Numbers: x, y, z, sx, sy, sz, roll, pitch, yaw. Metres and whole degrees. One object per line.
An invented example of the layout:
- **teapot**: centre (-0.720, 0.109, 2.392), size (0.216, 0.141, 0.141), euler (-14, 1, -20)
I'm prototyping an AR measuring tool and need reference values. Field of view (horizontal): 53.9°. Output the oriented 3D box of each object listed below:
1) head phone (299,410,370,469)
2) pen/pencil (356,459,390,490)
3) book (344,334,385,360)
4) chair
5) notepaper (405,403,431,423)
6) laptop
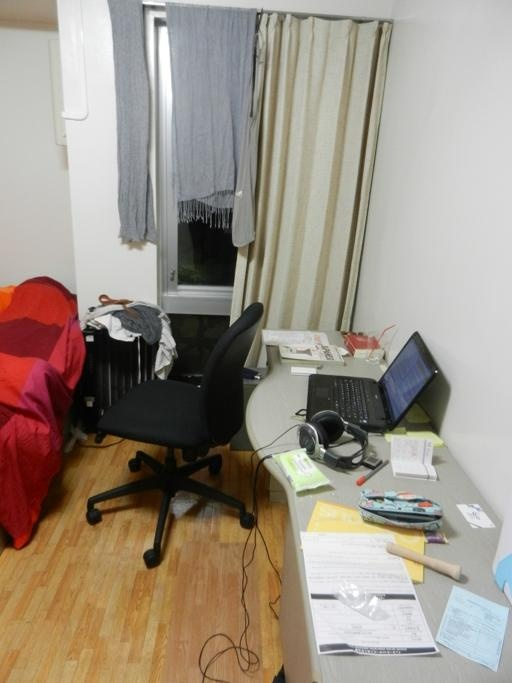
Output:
- **head phone**: centre (0.221, 0.274, 1.412), size (0.177, 0.101, 0.172), euler (21, 29, 35)
- **pen/pencil**: centre (0.307, 0.354, 1.324), size (0.008, 0.013, 0.099), euler (14, 35, 36)
- **book**: centre (0.487, 0.023, 2.279), size (0.094, 0.039, 0.154), euler (1, 24, -6)
- **chair**: centre (-0.316, 0.313, 2.048), size (0.611, 1.004, 0.730), euler (9, 21, 9)
- **notepaper**: centre (0.534, 0.234, 1.655), size (0.053, 0.015, 0.060), euler (0, 36, -4)
- **laptop**: centre (0.375, 0.100, 1.703), size (0.371, 0.268, 0.438), euler (9, 18, -1)
